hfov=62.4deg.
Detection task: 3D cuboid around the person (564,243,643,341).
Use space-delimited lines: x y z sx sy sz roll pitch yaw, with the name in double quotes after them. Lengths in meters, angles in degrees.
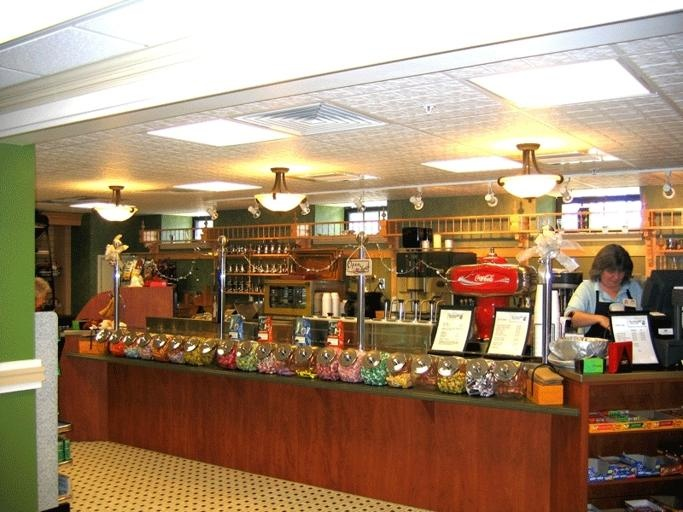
2.343 0.310 5.020 0.615 1.162 0.589 -1 -1 21 "person"
